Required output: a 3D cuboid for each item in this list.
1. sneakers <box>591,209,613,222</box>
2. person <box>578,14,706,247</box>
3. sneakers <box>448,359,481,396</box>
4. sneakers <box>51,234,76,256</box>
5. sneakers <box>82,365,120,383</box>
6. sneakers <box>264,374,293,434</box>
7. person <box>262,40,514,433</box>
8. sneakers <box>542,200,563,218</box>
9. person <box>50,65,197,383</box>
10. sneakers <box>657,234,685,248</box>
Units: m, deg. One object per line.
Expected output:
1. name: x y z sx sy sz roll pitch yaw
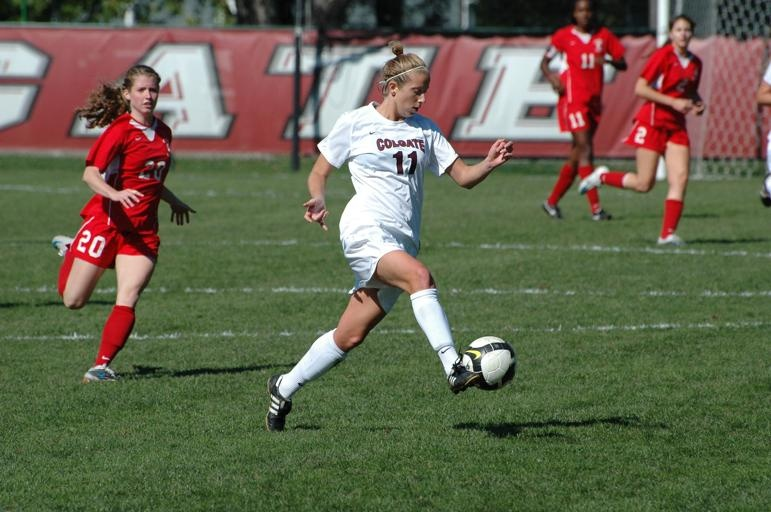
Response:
1. sneakers: 1.931 -0.351 10.079 0.164 0.077 0.079 2 5 42
2. person: 2.434 -1.174 10.297 0.890 1.965 1.004 8 13 22
3. sneakers: 0.557 0.860 8.009 0.219 0.228 0.114 8 13 22
4. sneakers: -2.961 -0.086 10.470 0.262 0.165 0.098 24 -19 45
5. sneakers: -2.320 0.966 9.292 0.305 0.137 0.117 2 1 -3
6. sneakers: -0.816 1.123 8.515 0.150 0.462 0.199 11 -14 -33
7. person: 0.010 -0.061 8.416 1.515 2.792 0.817 6 12 16
8. sneakers: 1.520 -0.409 10.372 0.079 0.084 0.210 9 10 -41
9. person: -2.178 -0.281 9.396 0.981 2.520 0.814 0 12 -14
10. sneakers: 2.501 -0.124 9.935 0.196 0.085 0.102 1 0 12
